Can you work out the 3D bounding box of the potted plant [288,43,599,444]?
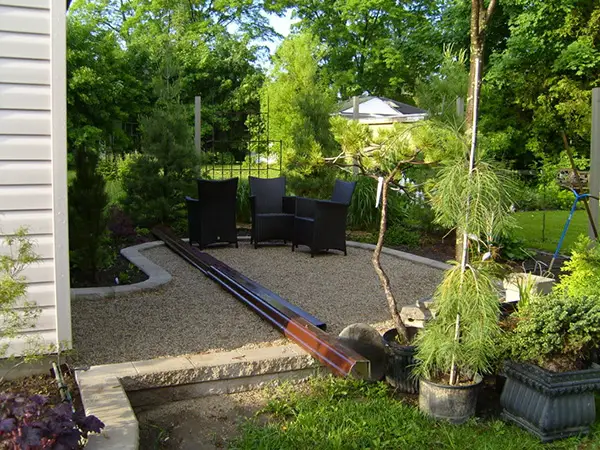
[{"bbox_3d":[1.150,0.038,3.183,0.892,2.290,1.689,-7,15,-43],"label":"potted plant"}]
